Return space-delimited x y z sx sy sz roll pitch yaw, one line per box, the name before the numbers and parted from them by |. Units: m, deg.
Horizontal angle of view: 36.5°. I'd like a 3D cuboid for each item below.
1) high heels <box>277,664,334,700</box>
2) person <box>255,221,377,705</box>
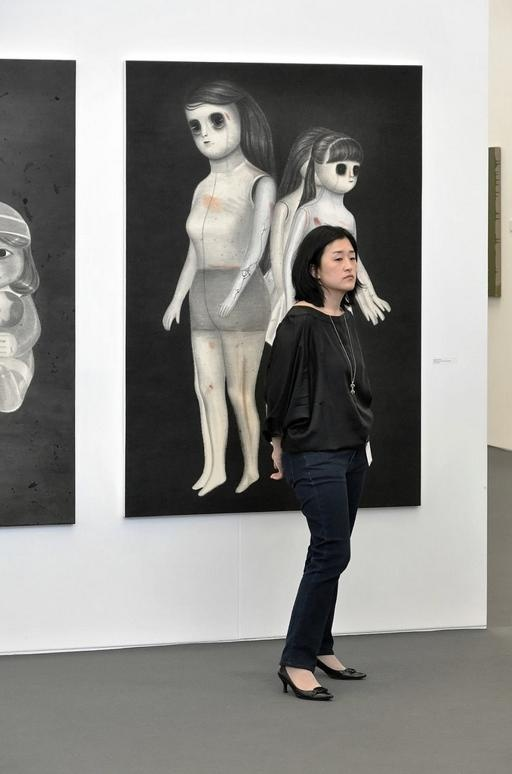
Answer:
high heels | 0.161 0.992 2.654 0.206 0.102 0.077 -2 -5 32
person | 0.207 0.254 2.698 0.354 1.580 0.351 5 4 11
